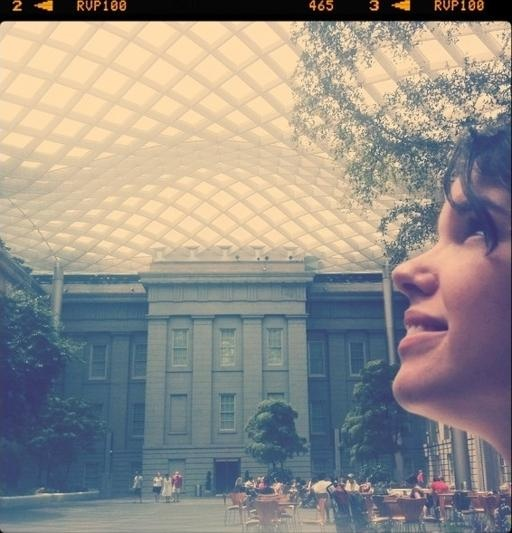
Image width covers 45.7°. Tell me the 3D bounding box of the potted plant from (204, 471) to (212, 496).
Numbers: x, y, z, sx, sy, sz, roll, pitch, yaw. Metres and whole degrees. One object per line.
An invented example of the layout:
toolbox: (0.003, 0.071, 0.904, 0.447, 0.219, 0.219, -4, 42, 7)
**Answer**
potted plant: (-2.918, 13.369, 37.512, 0.447, 1.406, 0.598, 2, -25, -3)

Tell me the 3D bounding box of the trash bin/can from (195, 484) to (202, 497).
trash bin/can: (-3.510, 13.818, 37.233, 0.374, 0.664, 0.232, 3, -25, -7)
